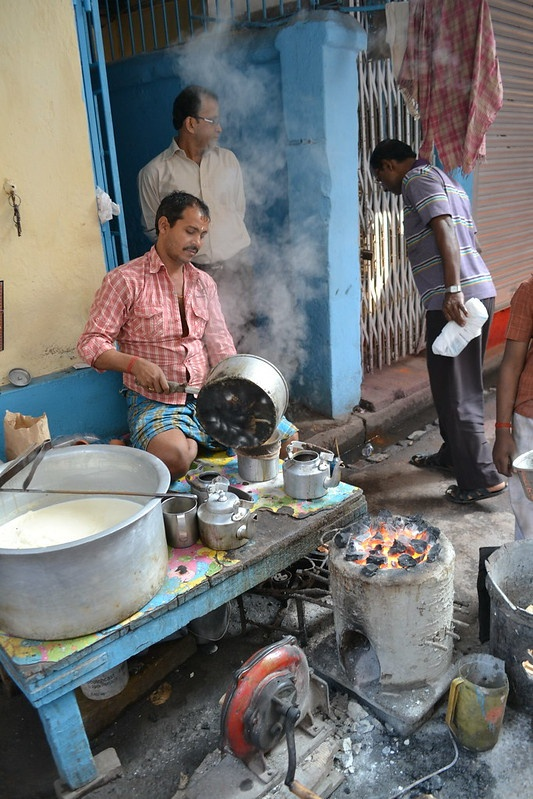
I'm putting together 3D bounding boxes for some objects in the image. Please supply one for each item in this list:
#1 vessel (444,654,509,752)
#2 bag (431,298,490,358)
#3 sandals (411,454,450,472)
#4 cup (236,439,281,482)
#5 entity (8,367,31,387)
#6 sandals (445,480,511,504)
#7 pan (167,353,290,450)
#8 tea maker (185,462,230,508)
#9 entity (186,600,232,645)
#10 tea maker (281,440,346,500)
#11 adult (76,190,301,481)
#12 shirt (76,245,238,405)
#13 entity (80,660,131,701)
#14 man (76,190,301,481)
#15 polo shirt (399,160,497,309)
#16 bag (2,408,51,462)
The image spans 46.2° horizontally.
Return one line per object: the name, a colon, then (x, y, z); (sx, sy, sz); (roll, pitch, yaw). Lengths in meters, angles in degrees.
vessel: (0.729, 1.054, 2.174); (0.210, 0.320, 0.236); (-5, 18, 14)
bag: (1.159, -0.404, 3.761); (0.241, 0.395, 0.170); (43, 30, 19)
sandals: (1.223, 0.471, 4.607); (0.283, 0.106, 0.104); (6, 15, 44)
cup: (-0.019, 0.303, 3.125); (0.228, 0.208, 0.221); (0, 18, 0)
entity: (-1.390, -0.120, 3.529); (0.108, 0.103, 0.038); (-18, -16, -35)
sandals: (1.334, 0.610, 3.999); (0.317, 0.081, 0.155); (-3, 11, 6)
pan: (-0.218, 0.002, 2.855); (0.669, 0.382, 0.251); (2, 35, 13)
tea maker: (-0.254, 0.383, 2.794); (0.135, 0.163, 0.190); (6, 10, 37)
entity: (-0.230, 0.995, 2.786); (0.194, 0.139, 0.190); (10, 27, 20)
tea maker: (0.204, 0.333, 2.948); (0.334, 0.246, 0.236); (12, 21, 41)
adult: (-0.389, -0.232, 3.463); (1.259, 1.711, 1.093); (-1, 16, -15)
shirt: (-0.582, -0.422, 3.606); (0.527, 0.864, 1.030); (15, 15, 42)
entity: (-0.619, 1.073, 2.410); (0.155, 0.110, 0.151); (-5, -2, -15)
man: (-0.408, -0.244, 3.517); (1.103, 1.734, 1.002); (-8, 21, -35)
polo shirt: (1.148, -1.021, 3.873); (0.485, 0.909, 0.455); (-12, 18, -10)
bag: (-1.160, 0.177, 2.996); (0.201, 0.248, 0.145); (13, 27, 7)
